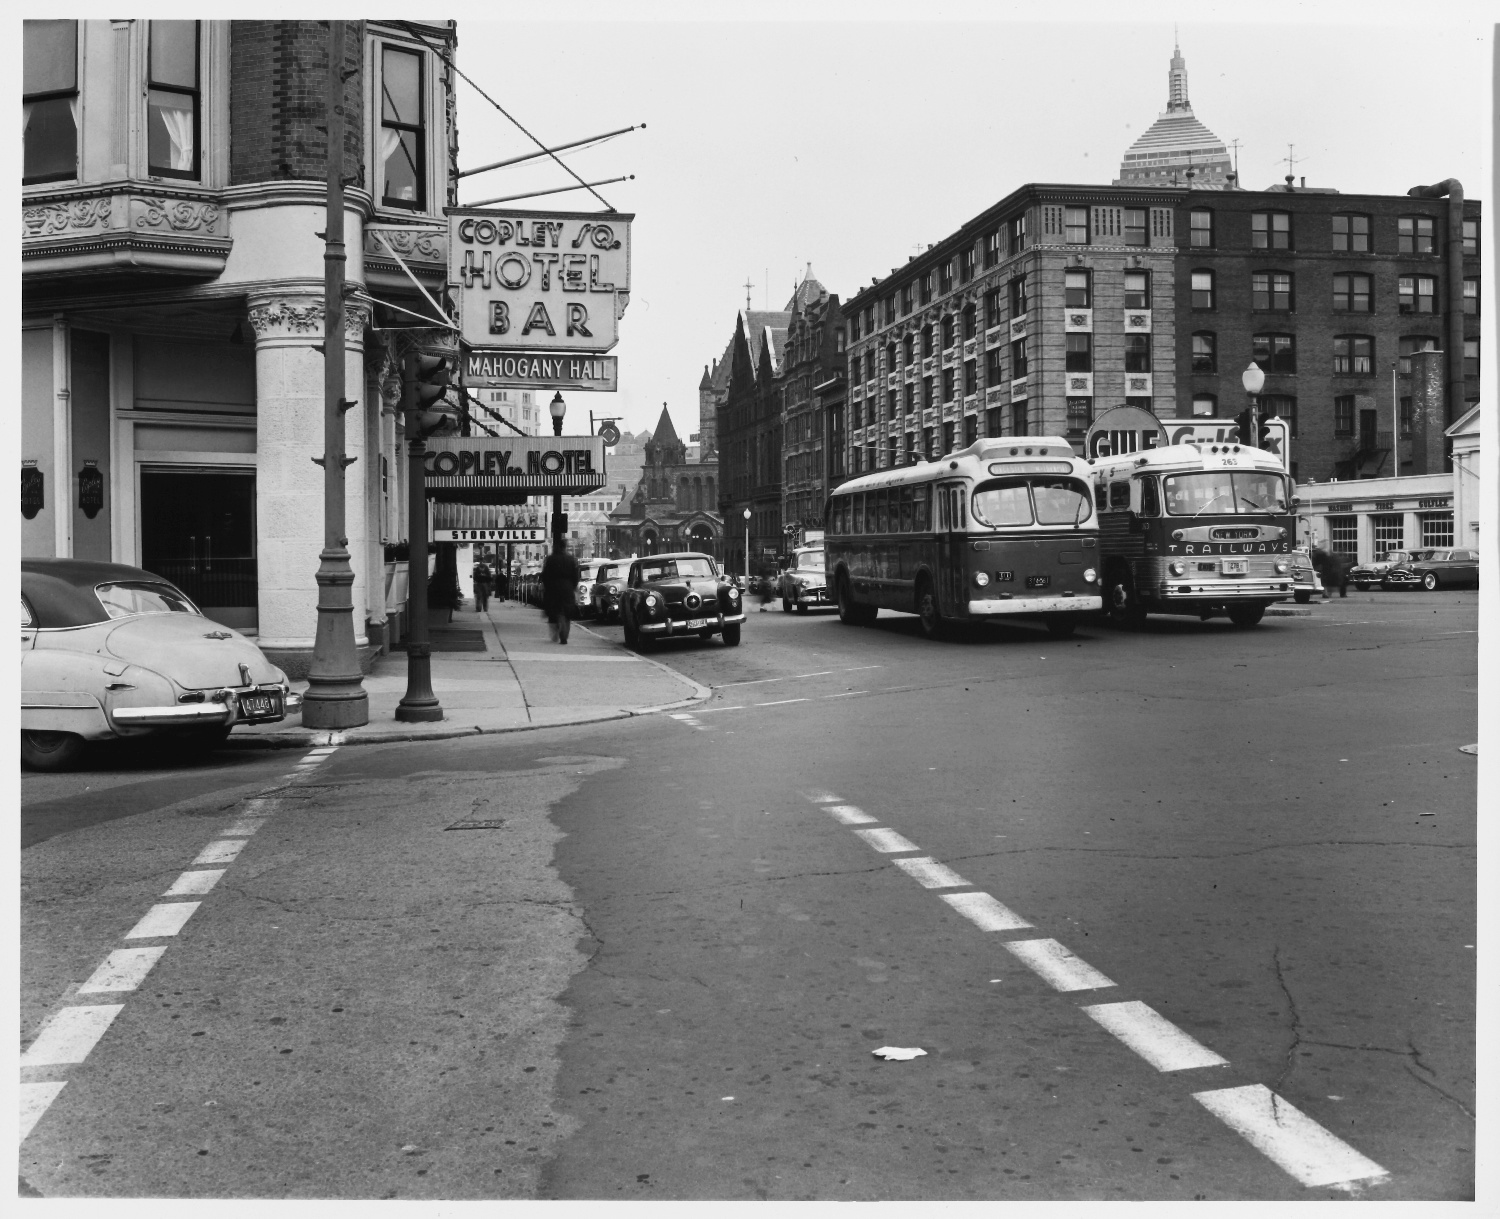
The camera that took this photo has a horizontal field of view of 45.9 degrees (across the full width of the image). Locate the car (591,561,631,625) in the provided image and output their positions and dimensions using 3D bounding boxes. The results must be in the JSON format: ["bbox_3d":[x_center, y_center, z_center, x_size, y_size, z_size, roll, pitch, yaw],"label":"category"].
[{"bbox_3d":[-3.515,-0.420,45.324,1.072,1.065,2.044,0,2,-18],"label":"car"}]

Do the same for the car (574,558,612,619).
[{"bbox_3d":[-4.545,-0.498,50.023,1.010,0.990,1.829,0,-3,-17],"label":"car"}]

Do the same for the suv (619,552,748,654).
[{"bbox_3d":[-1.327,-0.201,32.217,1.282,1.156,2.378,-1,-1,-14],"label":"suv"}]

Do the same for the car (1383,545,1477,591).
[{"bbox_3d":[22.876,-1.291,59.266,2.182,1.108,1.466,-3,2,15],"label":"car"}]

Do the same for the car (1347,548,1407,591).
[{"bbox_3d":[21.880,-1.382,61.891,1.076,0.953,1.863,-2,-3,44],"label":"car"}]

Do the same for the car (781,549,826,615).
[{"bbox_3d":[1.411,-0.682,46.121,0.939,1.694,2.982,0,5,-2],"label":"car"}]
